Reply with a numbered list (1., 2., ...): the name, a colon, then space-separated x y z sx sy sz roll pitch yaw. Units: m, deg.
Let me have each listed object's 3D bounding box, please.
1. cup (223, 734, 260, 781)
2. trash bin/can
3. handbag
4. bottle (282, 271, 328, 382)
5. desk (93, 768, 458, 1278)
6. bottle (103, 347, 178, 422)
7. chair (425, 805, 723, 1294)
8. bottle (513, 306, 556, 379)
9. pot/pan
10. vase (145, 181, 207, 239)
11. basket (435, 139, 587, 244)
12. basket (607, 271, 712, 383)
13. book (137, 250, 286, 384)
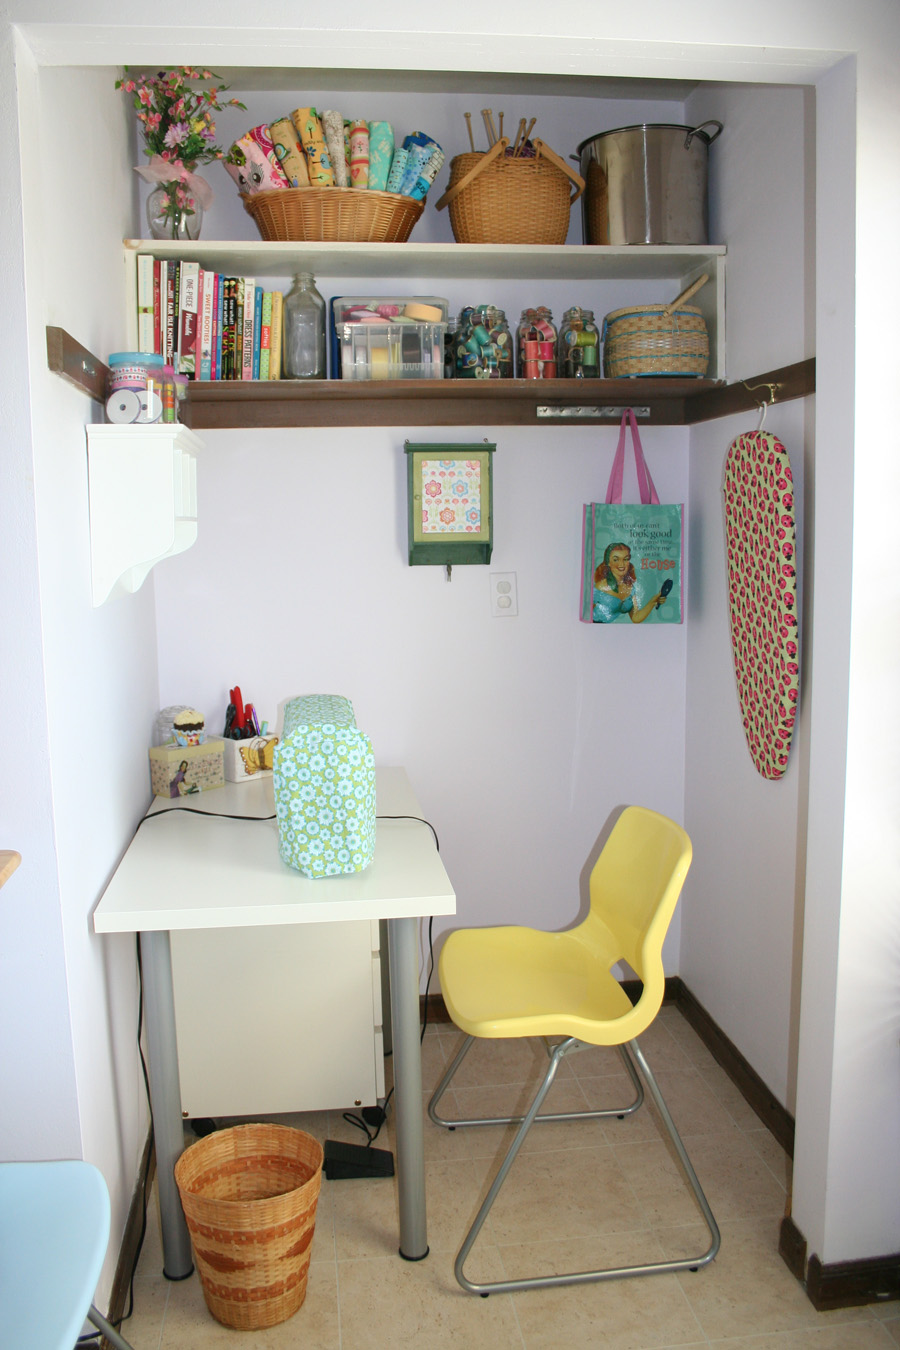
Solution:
1. cup: -0.485 0.197 2.464 0.112 0.117 0.076 0 7 -22
2. trash bin/can: -0.320 0.912 1.754 0.232 0.241 0.273 0 0 -3
3. handbag: 0.443 -0.269 2.567 0.262 0.419 0.129 0 6 -3
4. bottle: -0.328 -0.765 2.329 0.091 0.228 0.049 -1 6 -7
5. desk: -0.328 0.651 2.278 0.581 0.731 1.122 -5 2 -10
6. bottle: -0.518 -0.471 1.785 0.137 0.143 0.125 -2 12 -24
7. chair: 0.209 0.667 2.044 0.473 0.755 0.561 -1 6 -9
8. bottle: 0.193 -0.748 2.458 0.094 0.179 0.170 0 3 -2
9. pot/pan: 0.455 -1.118 2.477 0.326 0.268 0.394 -19 24 -39
10. vase: -0.592 -1.002 2.278 0.125 0.165 0.131 6 19 -8
11. basket: 0.143 -1.096 2.440 0.325 0.227 0.340 -4 17 -9
12. basket: 0.512 -0.813 2.434 0.240 0.239 0.211 2 15 19
13. book: -0.514 -0.763 2.266 0.313 0.251 0.063 -3 6 -19
